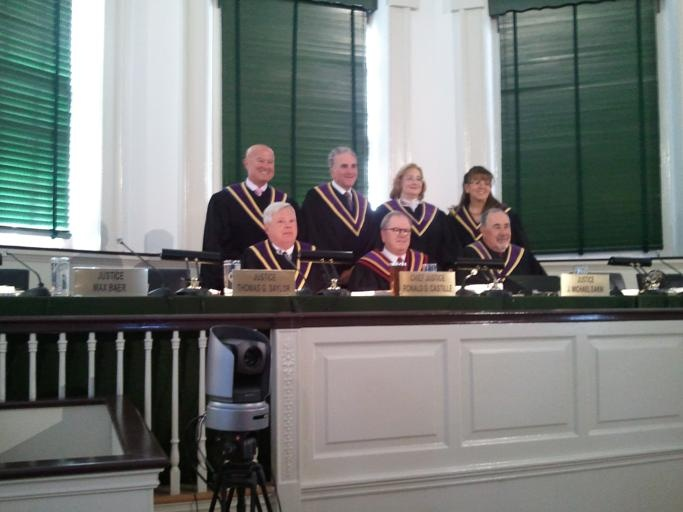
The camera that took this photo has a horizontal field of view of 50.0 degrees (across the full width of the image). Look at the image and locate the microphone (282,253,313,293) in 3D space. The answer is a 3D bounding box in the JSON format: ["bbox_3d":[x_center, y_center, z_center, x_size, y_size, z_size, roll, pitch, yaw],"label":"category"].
[{"bbox_3d":[-0.259,0.120,5.208,0.054,0.262,0.197,5,4,43],"label":"microphone"}]

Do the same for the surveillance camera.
[{"bbox_3d":[-0.461,0.520,3.314,0.258,0.464,0.270,3,2,-28],"label":"surveillance camera"}]

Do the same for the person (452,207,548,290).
[{"bbox_3d":[1.304,-0.038,5.837,0.591,0.735,0.518,4,3,-17],"label":"person"}]

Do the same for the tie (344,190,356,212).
[{"bbox_3d":[0.088,-0.477,6.358,0.038,0.160,0.117,-14,-18,38],"label":"tie"}]

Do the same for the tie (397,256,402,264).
[{"bbox_3d":[0.434,0.030,5.393,0.033,0.048,0.011,-3,-13,2],"label":"tie"}]

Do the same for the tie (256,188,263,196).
[{"bbox_3d":[-0.698,-0.555,6.318,0.049,0.056,0.014,2,-7,-29],"label":"tie"}]

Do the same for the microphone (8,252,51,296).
[{"bbox_3d":[-2.148,0.117,5.023,0.243,0.277,0.212,-2,-8,-8],"label":"microphone"}]

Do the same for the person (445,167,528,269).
[{"bbox_3d":[1.274,-0.333,6.524,0.849,1.187,0.421,0,-13,-5],"label":"person"}]

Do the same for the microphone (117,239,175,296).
[{"bbox_3d":[-1.338,0.065,4.965,0.211,0.351,0.145,-9,35,-1],"label":"microphone"}]

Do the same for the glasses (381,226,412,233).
[{"bbox_3d":[0.418,-0.192,5.348,0.181,0.049,0.080,-4,2,-16],"label":"glasses"}]

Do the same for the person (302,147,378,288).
[{"bbox_3d":[-0.002,-0.144,6.455,0.702,1.582,0.420,-2,5,-31],"label":"person"}]
